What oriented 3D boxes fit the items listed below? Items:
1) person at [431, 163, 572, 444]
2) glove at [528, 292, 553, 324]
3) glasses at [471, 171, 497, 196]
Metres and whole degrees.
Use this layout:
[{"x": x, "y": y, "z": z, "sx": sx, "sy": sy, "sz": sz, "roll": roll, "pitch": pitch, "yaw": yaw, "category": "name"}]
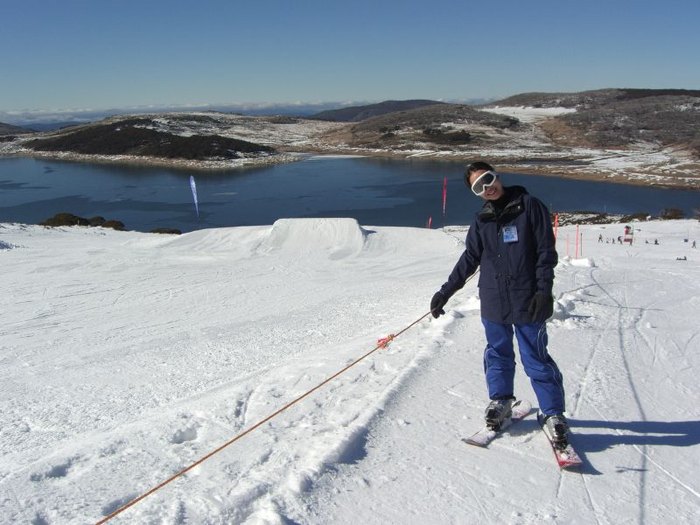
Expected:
[{"x": 1.413, "y": 0.345, "z": 4.245, "sx": 0.625, "sy": 2.423, "sz": 1.199, "roll": -17, "pitch": 21, "yaw": -40, "category": "person"}, {"x": 1.573, "y": 0.378, "z": 4.066, "sx": 0.221, "sy": 0.218, "sz": 0.090, "roll": 21, "pitch": 10, "yaw": -4, "category": "glove"}, {"x": 1.106, "y": -0.656, "z": 4.102, "sx": 0.239, "sy": 0.100, "sz": 0.260, "roll": -28, "pitch": 1, "yaw": 28, "category": "glasses"}]
